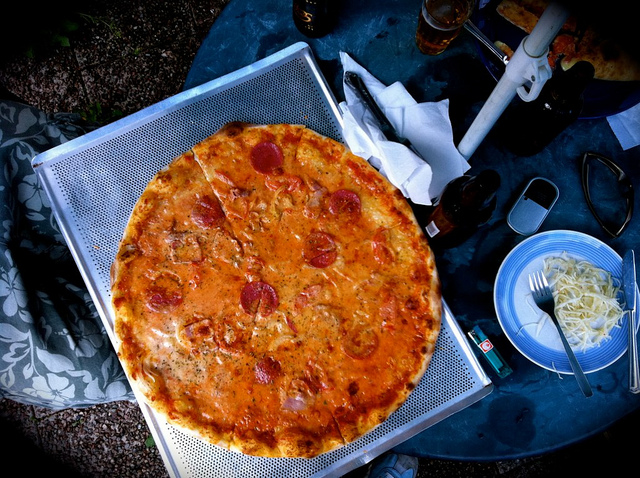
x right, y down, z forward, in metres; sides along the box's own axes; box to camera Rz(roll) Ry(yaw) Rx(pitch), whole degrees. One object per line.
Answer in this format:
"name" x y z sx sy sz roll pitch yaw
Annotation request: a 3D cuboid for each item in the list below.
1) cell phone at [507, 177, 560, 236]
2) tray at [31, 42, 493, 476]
"cell phone" 0.966 -0.150 2.560 0.164 0.052 0.308 33 94 4
"tray" -0.194 0.095 2.522 1.523 0.787 2.188 -25 72 -12
